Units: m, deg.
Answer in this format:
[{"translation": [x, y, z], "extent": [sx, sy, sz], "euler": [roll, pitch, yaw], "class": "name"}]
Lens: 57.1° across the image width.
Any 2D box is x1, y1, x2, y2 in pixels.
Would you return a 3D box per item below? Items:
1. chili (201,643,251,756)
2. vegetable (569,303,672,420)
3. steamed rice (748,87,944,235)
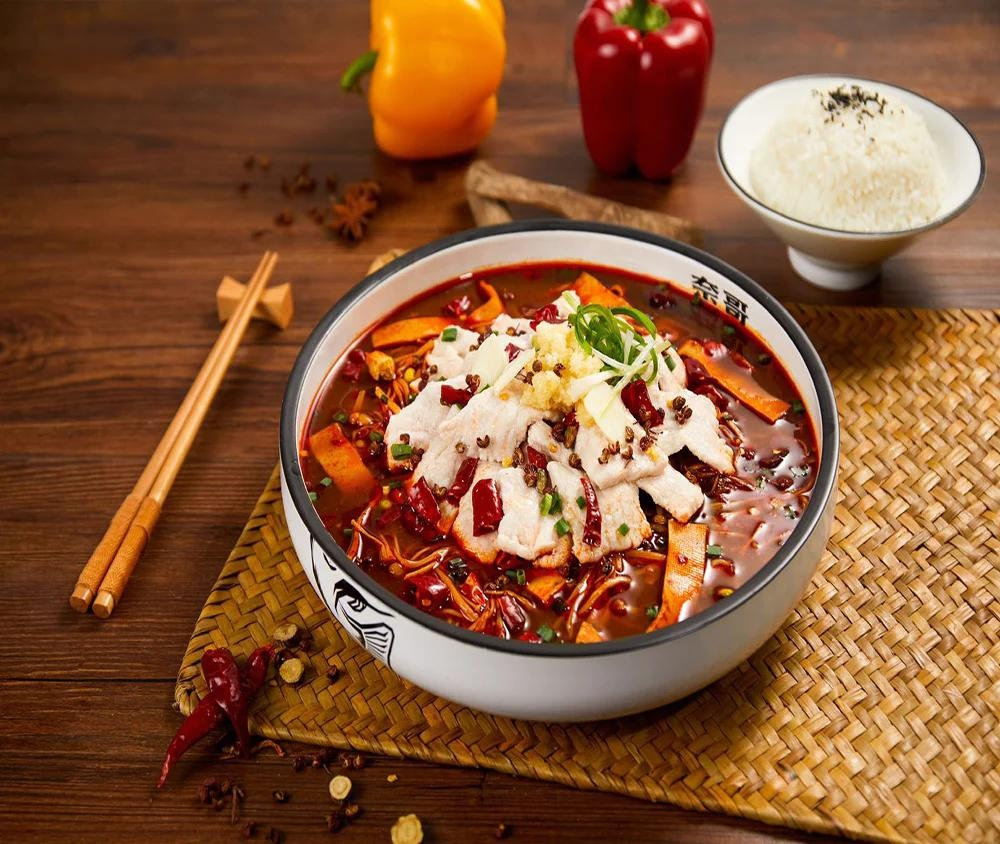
[{"translation": [-0.869, 0.876, 2.924], "extent": [0.131, 0.086, 0.354], "euler": [-15, 55, -30], "class": "chili"}, {"translation": [0.498, -0.183, 2.988], "extent": [0.431, 0.290, 0.132], "euler": [35, 64, -27], "class": "vegetable"}, {"translation": [1.519, -1.082, 3.951], "extent": [0.826, 0.317, 0.594], "euler": [22, 79, 5], "class": "steamed rice"}]
